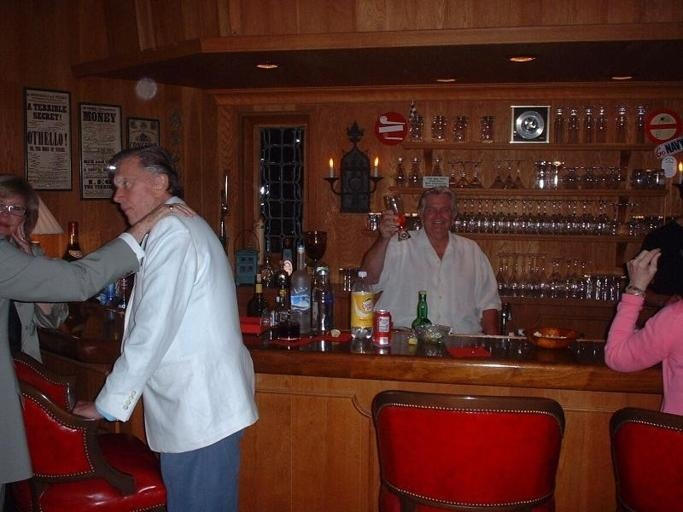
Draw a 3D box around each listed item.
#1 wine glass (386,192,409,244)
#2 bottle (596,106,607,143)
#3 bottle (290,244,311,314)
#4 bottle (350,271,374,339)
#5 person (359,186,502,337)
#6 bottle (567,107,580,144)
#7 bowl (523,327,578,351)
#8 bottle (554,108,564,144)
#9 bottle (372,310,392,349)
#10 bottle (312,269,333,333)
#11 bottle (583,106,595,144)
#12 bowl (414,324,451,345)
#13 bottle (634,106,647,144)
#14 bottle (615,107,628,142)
[{"bbox_3d":[0.323,-0.226,3.446,0.117,0.259,0.232,1,4,8],"label":"wine glass"},{"bbox_3d":[2.193,-1.109,5.053,0.075,0.323,0.266,3,5,27],"label":"bottle"},{"bbox_3d":[-0.212,0.115,3.222,0.107,0.350,0.168,0,4,-4],"label":"bottle"},{"bbox_3d":[0.115,0.264,3.114,0.109,0.328,0.089,0,4,-2],"label":"bottle"},{"bbox_3d":[0.598,0.303,3.901,0.855,1.464,0.712,-1,7,-3],"label":"person"},{"bbox_3d":[1.953,-1.105,5.048,0.090,0.328,0.271,2,4,21],"label":"bottle"},{"bbox_3d":[1.063,0.420,3.029,0.250,0.083,0.248,1,4,0],"label":"bowl"},{"bbox_3d":[1.849,-1.110,5.076,0.088,0.328,0.275,2,4,20],"label":"bottle"},{"bbox_3d":[0.209,0.363,3.003,0.087,0.176,0.082,1,4,0],"label":"bottle"},{"bbox_3d":[-0.097,0.230,3.290,0.107,0.397,0.113,1,26,-1],"label":"bottle"},{"bbox_3d":[2.077,-1.099,5.032,0.079,0.303,0.203,2,4,21],"label":"bottle"},{"bbox_3d":[0.508,0.399,3.103,0.237,0.098,0.123,-3,5,-37],"label":"bowl"},{"bbox_3d":[2.480,-1.090,4.977,0.076,0.321,0.250,3,5,26],"label":"bottle"},{"bbox_3d":[2.340,-1.091,5.006,0.089,0.300,0.317,2,5,25],"label":"bottle"}]
